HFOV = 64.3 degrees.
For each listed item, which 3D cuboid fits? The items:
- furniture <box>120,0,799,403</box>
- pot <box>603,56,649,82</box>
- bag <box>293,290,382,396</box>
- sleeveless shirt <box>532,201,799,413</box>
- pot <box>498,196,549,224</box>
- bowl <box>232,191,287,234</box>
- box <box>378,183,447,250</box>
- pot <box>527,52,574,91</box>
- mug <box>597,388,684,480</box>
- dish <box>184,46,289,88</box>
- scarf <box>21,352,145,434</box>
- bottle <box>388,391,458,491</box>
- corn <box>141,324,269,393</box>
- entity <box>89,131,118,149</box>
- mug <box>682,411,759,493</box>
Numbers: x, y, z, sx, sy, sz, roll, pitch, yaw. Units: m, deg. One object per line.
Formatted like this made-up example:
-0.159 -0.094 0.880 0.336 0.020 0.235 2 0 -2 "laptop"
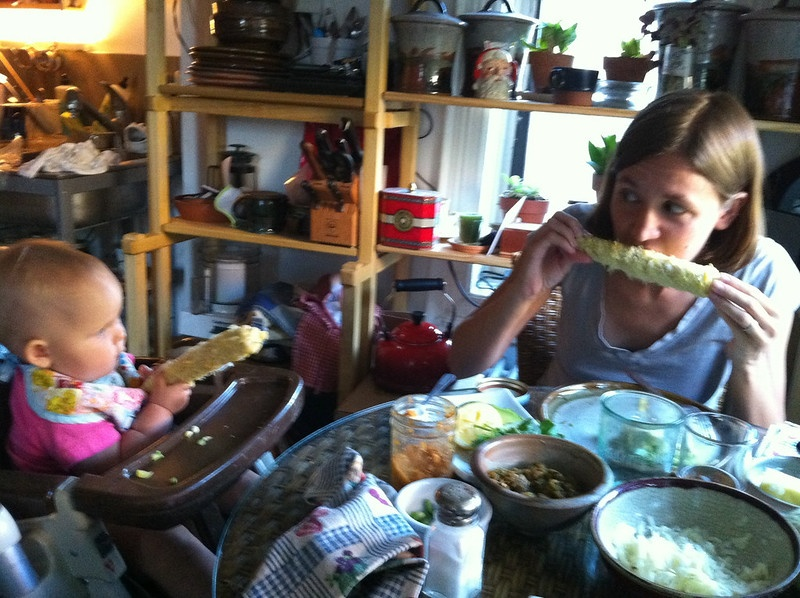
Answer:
0.228 -0.335 2.072 1.997 1.427 0.654 6 34 13 "furniture"
0.734 -0.737 2.044 0.125 0.067 0.107 9 28 17 "pot"
-0.306 0.181 2.442 0.300 0.301 0.110 3 -3 2 "bag"
0.676 0.025 1.613 0.718 0.490 0.342 12 2 22 "sleeveless shirt"
0.473 -0.331 2.382 0.149 0.081 0.127 2 13 10 "pot"
-0.536 -0.334 2.482 0.259 0.129 0.185 1 20 0 "bowl"
0.029 -0.297 2.261 0.261 0.176 0.250 15 20 36 "box"
0.536 -0.790 2.224 0.167 0.103 0.153 0 20 0 "pot"
0.470 0.253 1.273 0.185 0.105 0.169 12 18 37 "mug"
-0.587 -0.803 2.314 0.250 0.068 0.226 9 15 27 "dish"
-0.691 0.206 1.381 0.213 0.059 0.181 6 14 -18 "scarf"
0.045 0.285 1.208 0.136 0.158 0.112 8 20 20 "bottle"
-0.449 0.119 1.370 0.358 0.095 0.089 -19 35 30 "corn"
-1.461 -0.773 3.131 0.120 0.037 0.104 -3 9 -13 "entity"
0.575 0.277 1.215 0.152 0.104 0.133 15 22 41 "mug"
